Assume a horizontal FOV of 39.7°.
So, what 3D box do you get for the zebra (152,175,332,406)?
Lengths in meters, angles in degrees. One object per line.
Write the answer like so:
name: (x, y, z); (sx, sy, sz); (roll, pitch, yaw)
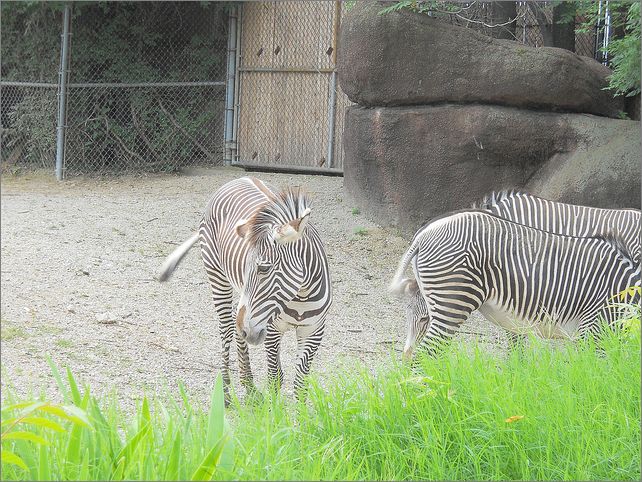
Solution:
zebra: (-0.499, 0.418, 7.015); (0.879, 2.037, 2.347); (-5, 13, -16)
